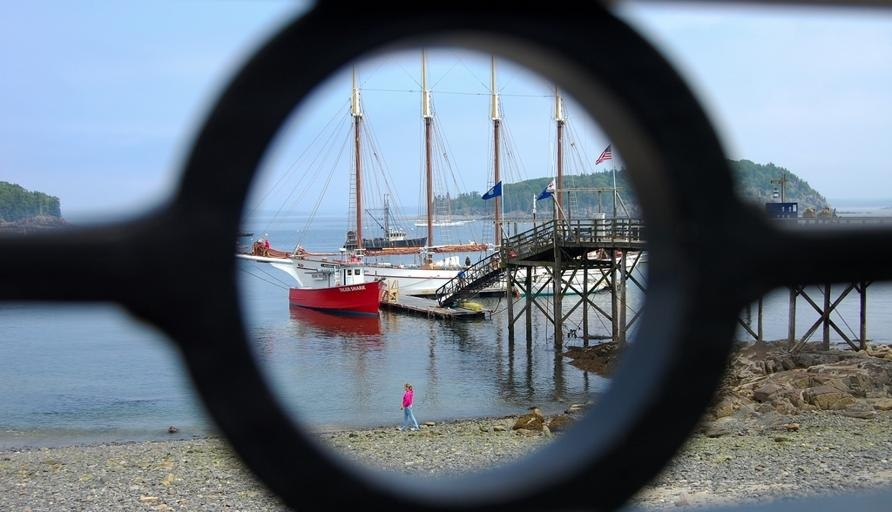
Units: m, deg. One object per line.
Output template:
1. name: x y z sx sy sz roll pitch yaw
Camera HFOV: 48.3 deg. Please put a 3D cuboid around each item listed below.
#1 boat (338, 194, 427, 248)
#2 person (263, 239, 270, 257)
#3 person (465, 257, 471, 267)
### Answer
1. boat: -6.145 -2.944 97.967 8.875 4.509 2.379 -6 10 -18
2. person: -12.890 -0.584 71.033 0.354 1.120 1.687 3 3 -10
3. person: 1.560 0.264 75.209 0.553 1.020 0.326 1 -21 -3
